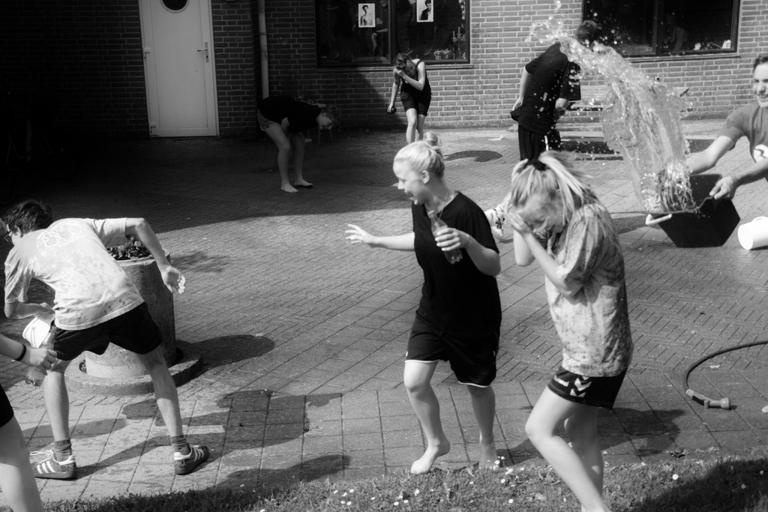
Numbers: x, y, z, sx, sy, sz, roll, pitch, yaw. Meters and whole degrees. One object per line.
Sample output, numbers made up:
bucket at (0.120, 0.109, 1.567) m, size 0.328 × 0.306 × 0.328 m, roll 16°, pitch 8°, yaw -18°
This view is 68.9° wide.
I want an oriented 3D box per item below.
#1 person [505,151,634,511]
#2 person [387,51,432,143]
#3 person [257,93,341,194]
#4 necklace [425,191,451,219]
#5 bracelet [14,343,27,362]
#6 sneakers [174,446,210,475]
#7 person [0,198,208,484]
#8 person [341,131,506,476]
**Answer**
person at (0.990, 0.402, 3.039) m, size 0.653 × 1.846 × 0.551 m, roll 4°, pitch 20°, yaw 24°
person at (0.675, -3.672, 13.064) m, size 0.752 × 1.957 × 1.259 m, roll -5°, pitch 18°, yaw -4°
person at (-1.787, -2.267, 11.286) m, size 1.370 × 1.864 × 0.737 m, roll -6°, pitch 18°, yaw -6°
necklace at (0.338, -0.331, 3.589) m, size 0.139 × 0.173 × 0.093 m, roll 9°, pitch 11°, yaw 14°
bracelet at (-2.082, 0.547, 3.210) m, size 0.027 × 0.074 × 0.077 m, roll 29°, pitch 47°, yaw -19°
sneakers at (-1.372, 1.432, 4.103) m, size 0.121 × 0.139 × 0.319 m, roll 4°, pitch 15°, yaw 20°
person at (-1.991, 0.559, 4.040) m, size 1.282 × 1.906 × 0.660 m, roll -2°, pitch 18°, yaw 5°
person at (0.445, 0.393, 3.721) m, size 0.649 × 2.224 × 0.528 m, roll -3°, pitch 18°, yaw 5°
